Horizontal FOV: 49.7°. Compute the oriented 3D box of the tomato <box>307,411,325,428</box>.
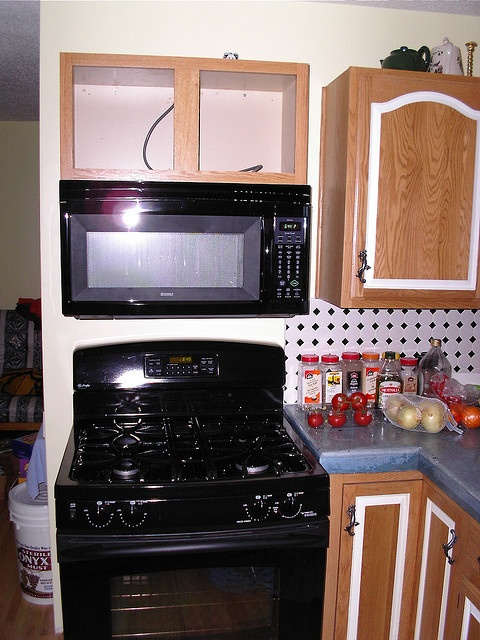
[{"bbox_3d":[0.247,0.315,1.645,0.043,0.044,0.044,1,-14,2],"label":"tomato"}]

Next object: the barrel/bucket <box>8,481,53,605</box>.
[{"bbox_3d":[-0.790,0.913,2.002,0.203,0.455,0.101,0,6,21],"label":"barrel/bucket"}]

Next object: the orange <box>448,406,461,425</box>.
[{"bbox_3d":[0.691,0.310,1.689,0.047,0.047,0.049,4,0,10],"label":"orange"}]

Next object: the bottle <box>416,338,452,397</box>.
[{"bbox_3d":[0.739,0.179,1.953,0.113,0.178,0.243,0,7,23],"label":"bottle"}]

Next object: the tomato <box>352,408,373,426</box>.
[{"bbox_3d":[0.397,0.315,1.669,0.049,0.053,0.051,-5,8,-24],"label":"tomato"}]

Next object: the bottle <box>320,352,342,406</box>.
[{"bbox_3d":[0.336,0.216,1.862,0.094,0.191,0.084,-3,6,-10],"label":"bottle"}]

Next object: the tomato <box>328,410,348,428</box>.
[{"bbox_3d":[0.314,0.311,1.658,0.049,0.052,0.050,3,0,-32],"label":"tomato"}]

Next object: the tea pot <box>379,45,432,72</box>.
[{"bbox_3d":[0.513,-0.809,1.607,0.134,0.096,0.104,12,32,19],"label":"tea pot"}]

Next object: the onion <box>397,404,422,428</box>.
[{"bbox_3d":[0.535,0.309,1.637,0.063,0.080,0.069,12,18,35],"label":"onion"}]

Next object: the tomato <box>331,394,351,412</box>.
[{"bbox_3d":[0.336,0.273,1.715,0.055,0.058,0.056,2,1,11],"label":"tomato"}]

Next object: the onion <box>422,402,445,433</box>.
[{"bbox_3d":[0.606,0.306,1.622,0.063,0.077,0.061,-12,23,-36],"label":"onion"}]

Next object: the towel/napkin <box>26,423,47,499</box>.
[{"bbox_3d":[-0.759,0.568,1.989,0.061,0.230,0.082,-30,-38,10],"label":"towel/napkin"}]

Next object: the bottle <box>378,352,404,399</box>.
[{"bbox_3d":[0.544,0.245,1.884,0.099,0.257,0.092,4,-13,1],"label":"bottle"}]

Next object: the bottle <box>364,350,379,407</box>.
[{"bbox_3d":[0.484,0.228,1.885,0.073,0.181,0.036,-2,6,-1],"label":"bottle"}]

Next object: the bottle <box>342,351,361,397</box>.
[{"bbox_3d":[0.417,0.202,1.920,0.076,0.195,0.073,-6,22,2],"label":"bottle"}]

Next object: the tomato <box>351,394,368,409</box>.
[{"bbox_3d":[0.398,0.269,1.739,0.047,0.049,0.048,-27,-19,12],"label":"tomato"}]

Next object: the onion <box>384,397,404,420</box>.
[{"bbox_3d":[0.505,0.283,1.702,0.058,0.051,0.066,0,14,16],"label":"onion"}]

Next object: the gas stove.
[{"bbox_3d":[-0.158,0.319,1.525,0.713,0.154,0.530,-3,6,-9],"label":"gas stove"}]
